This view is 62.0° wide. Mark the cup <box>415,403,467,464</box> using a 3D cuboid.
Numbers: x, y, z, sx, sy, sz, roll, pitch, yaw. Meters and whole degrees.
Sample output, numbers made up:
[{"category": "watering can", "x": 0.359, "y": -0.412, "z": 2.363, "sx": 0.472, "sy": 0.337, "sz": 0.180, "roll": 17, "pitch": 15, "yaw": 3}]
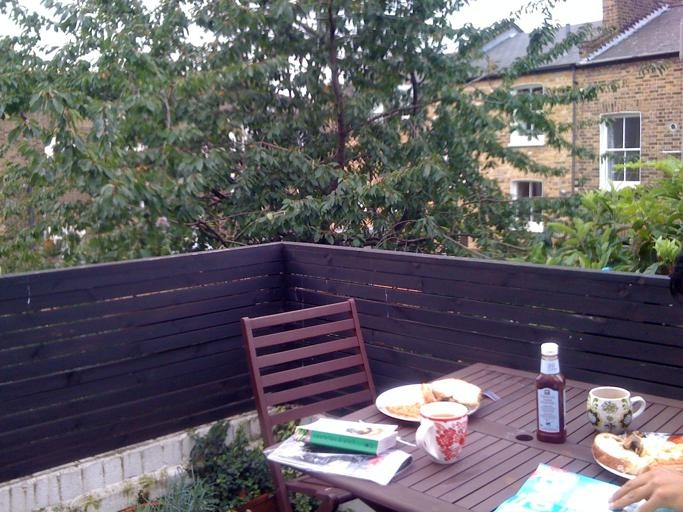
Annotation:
[{"category": "cup", "x": 0.342, "y": 0.602, "z": 1.946, "sx": 0.176, "sy": 0.178, "sz": 0.154, "roll": -5, "pitch": 8, "yaw": 4}]

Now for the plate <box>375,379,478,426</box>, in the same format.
[{"category": "plate", "x": 0.331, "y": 0.561, "z": 2.258, "sx": 0.214, "sy": 0.032, "sz": 0.220, "roll": 1, "pitch": 12, "yaw": 25}]

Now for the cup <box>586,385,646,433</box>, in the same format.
[{"category": "cup", "x": 0.931, "y": 0.558, "z": 2.042, "sx": 0.197, "sy": 0.136, "sz": 0.148, "roll": -1, "pitch": 0, "yaw": 22}]
